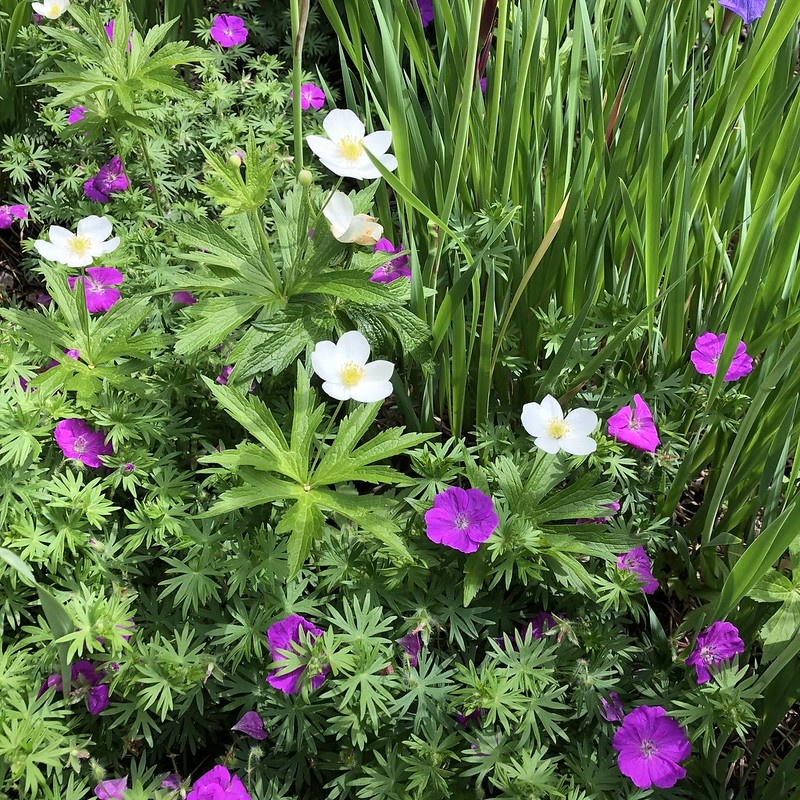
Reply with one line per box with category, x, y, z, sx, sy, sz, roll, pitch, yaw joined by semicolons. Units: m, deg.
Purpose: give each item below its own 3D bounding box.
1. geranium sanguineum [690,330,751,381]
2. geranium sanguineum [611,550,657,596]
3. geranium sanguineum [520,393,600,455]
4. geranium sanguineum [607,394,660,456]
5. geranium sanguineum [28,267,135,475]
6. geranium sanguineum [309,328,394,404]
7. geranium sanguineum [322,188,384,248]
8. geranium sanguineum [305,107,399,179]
geranium sanguineum;0.807;-0.122;1.923;0.159;0.174;0.066;27;74;-24
geranium sanguineum;0.575;0.427;1.835;0.114;0.054;0.116;43;49;-20
geranium sanguineum;0.346;0.067;1.682;0.156;0.067;0.153;21;33;34
geranium sanguineum;0.564;0.055;1.816;0.112;0.036;0.148;-1;74;-13
geranium sanguineum;-0.798;-0.072;1.945;0.191;0.111;0.596;8;84;-1
geranium sanguineum;-0.106;-0.068;1.682;0.161;0.198;0.070;-14;53;30
geranium sanguineum;-0.106;-0.399;1.707;0.134;0.158;0.113;6;43;5
geranium sanguineum;-0.102;-0.589;1.742;0.187;0.082;0.188;17;49;14
